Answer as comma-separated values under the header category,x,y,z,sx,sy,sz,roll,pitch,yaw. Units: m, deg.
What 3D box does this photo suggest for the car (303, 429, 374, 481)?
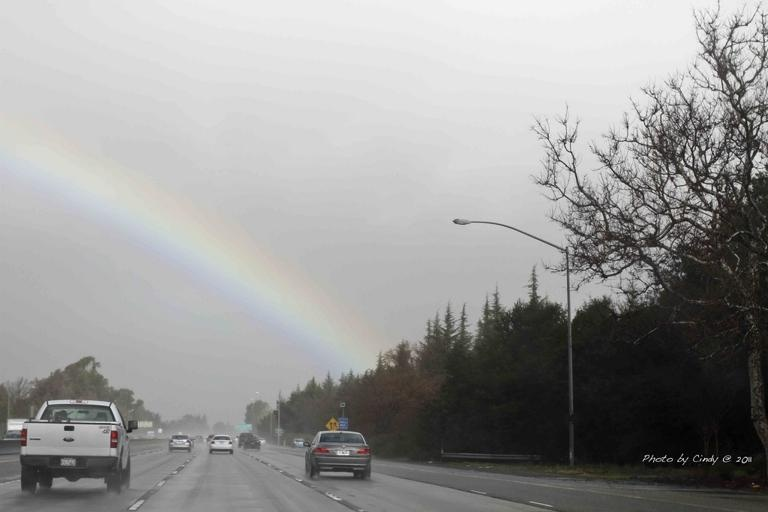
category,x,y,z,sx,sy,sz,roll,pitch,yaw
car,-2.405,10.063,49.368,3.307,2.825,2.172,-12,-28,31
